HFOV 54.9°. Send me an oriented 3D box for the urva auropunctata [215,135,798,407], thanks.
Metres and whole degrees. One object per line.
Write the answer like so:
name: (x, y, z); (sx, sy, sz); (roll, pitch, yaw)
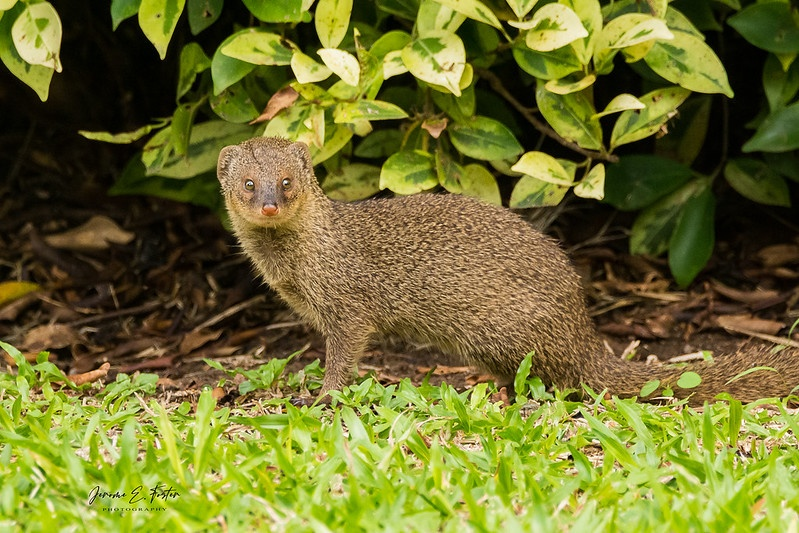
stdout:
urva auropunctata: (0.945, -0.140, 4.910); (3.907, 1.598, 1.339); (3, 11, 13)
